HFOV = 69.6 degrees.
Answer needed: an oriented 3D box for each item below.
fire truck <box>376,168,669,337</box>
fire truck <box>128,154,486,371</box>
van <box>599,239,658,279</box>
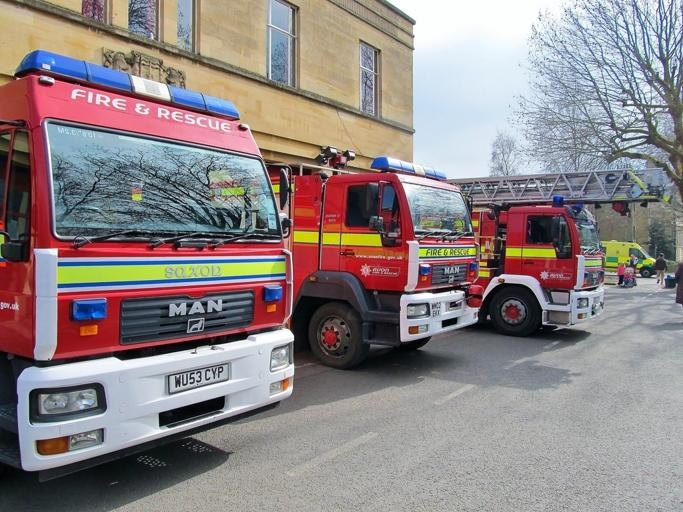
[{"bbox_3d":[3.767,-0.210,12.157,7.593,3.176,2.564,-1,9,40],"label":"fire truck"},{"bbox_3d":[-0.563,-0.072,9.698,5.766,3.029,3.050,5,6,35],"label":"fire truck"},{"bbox_3d":[20.163,0.114,34.362,2.256,2.311,4.642,-5,3,-29],"label":"van"}]
